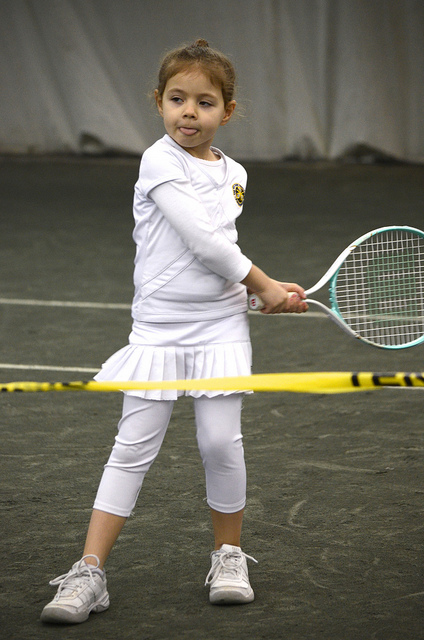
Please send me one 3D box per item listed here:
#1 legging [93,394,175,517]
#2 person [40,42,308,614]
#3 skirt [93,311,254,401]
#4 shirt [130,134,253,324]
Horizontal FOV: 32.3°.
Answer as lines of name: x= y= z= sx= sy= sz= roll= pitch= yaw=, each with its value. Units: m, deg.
legging: x=-0.227 y=0.371 z=2.091 sx=0.118 sy=0.510 sz=0.125 roll=33 pitch=-25 yaw=-34
person: x=-0.089 y=-0.022 z=2.418 sx=0.725 sy=1.617 sz=1.209 roll=0 pitch=10 yaw=5
skirt: x=-0.091 y=0.061 z=2.170 sx=0.505 sy=0.208 sz=0.323 roll=-3 pitch=22 yaw=-12
shirt: x=-0.071 y=-0.260 z=2.107 sx=0.356 sy=0.539 sz=0.368 roll=-1 pitch=10 yaw=-2
